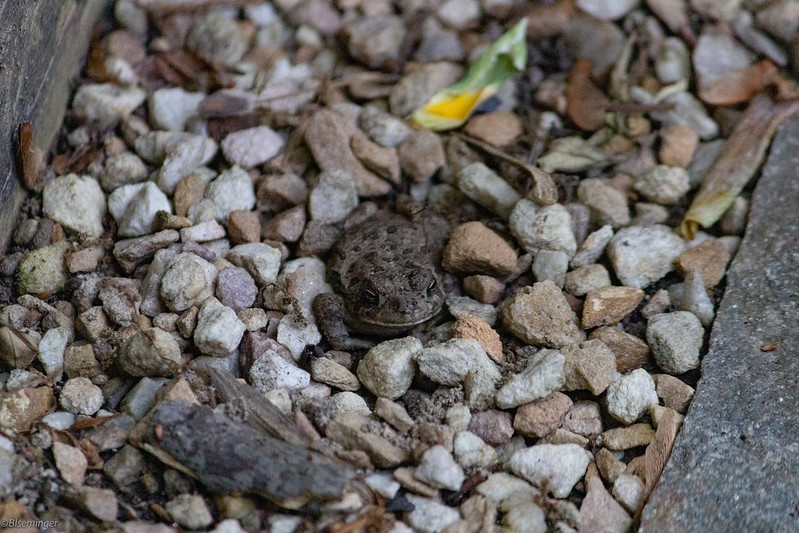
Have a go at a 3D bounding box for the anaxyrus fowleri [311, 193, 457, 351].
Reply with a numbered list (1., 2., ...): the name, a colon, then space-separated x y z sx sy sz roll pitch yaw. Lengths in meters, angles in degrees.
1. anaxyrus fowleri: -0.079 0.036 3.502 0.559 0.351 0.717 7 85 3
